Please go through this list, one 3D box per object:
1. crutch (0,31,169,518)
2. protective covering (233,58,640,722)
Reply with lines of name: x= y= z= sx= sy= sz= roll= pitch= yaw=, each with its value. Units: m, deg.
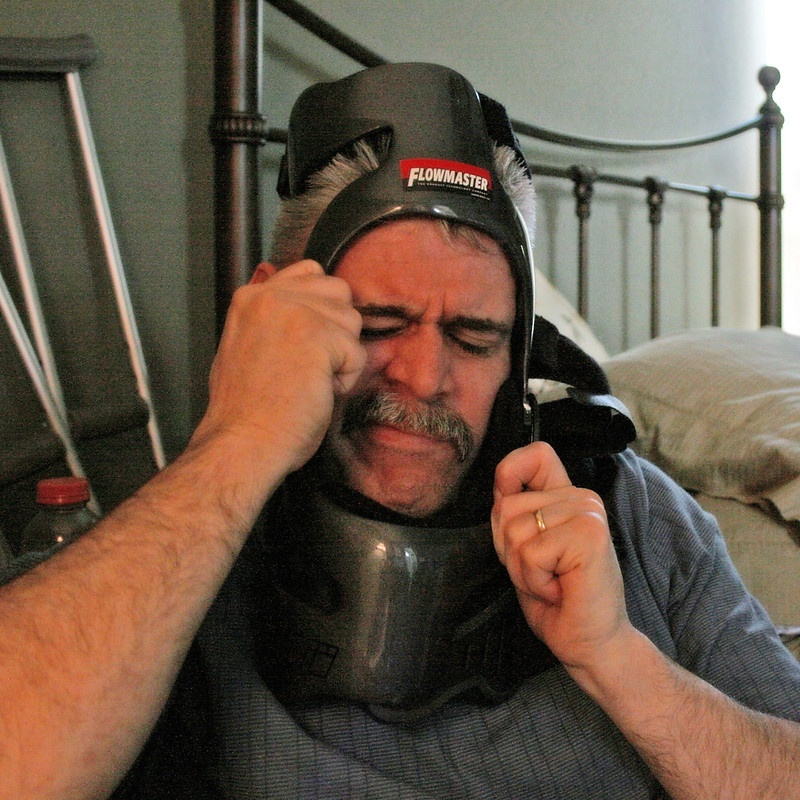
crutch: x=-0.217 y=-0.072 z=0.638 sx=0.092 sy=0.321 sz=0.087 roll=-5 pitch=24 yaw=-12
protective covering: x=0.052 y=-0.004 z=0.736 sx=0.355 sy=0.484 sz=0.243 roll=-5 pitch=23 yaw=-11
